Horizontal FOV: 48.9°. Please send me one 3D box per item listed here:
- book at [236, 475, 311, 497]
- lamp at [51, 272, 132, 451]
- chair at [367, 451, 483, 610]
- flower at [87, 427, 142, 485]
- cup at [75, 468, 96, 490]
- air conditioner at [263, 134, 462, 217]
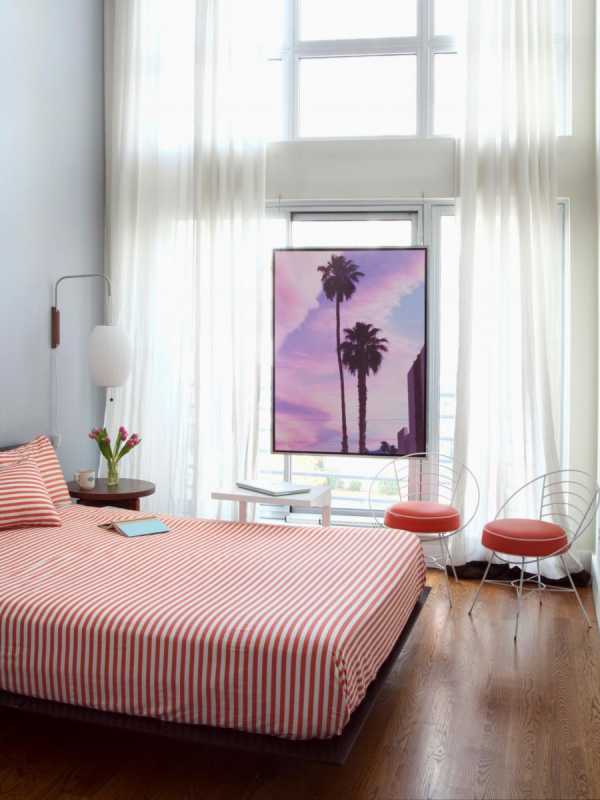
[{"bbox_3d":[-0.171,0.513,3.837,0.295,0.056,0.523,2,-2,-41],"label":"book"},{"bbox_3d":[-1.277,-0.289,4.276,0.494,1.162,0.712,0,-1,2],"label":"lamp"},{"bbox_3d":[0.751,0.702,3.796,0.444,0.783,0.481,0,2,-9],"label":"chair"},{"bbox_3d":[-1.146,0.294,4.149,0.294,0.481,0.394,0,2,-6],"label":"flower"},{"bbox_3d":[-1.241,0.469,3.830,0.107,0.128,0.078,-2,0,-7],"label":"cup"},{"bbox_3d":[0.452,-1.520,4.452,1.186,0.460,0.465,0,7,6],"label":"air conditioner"}]
